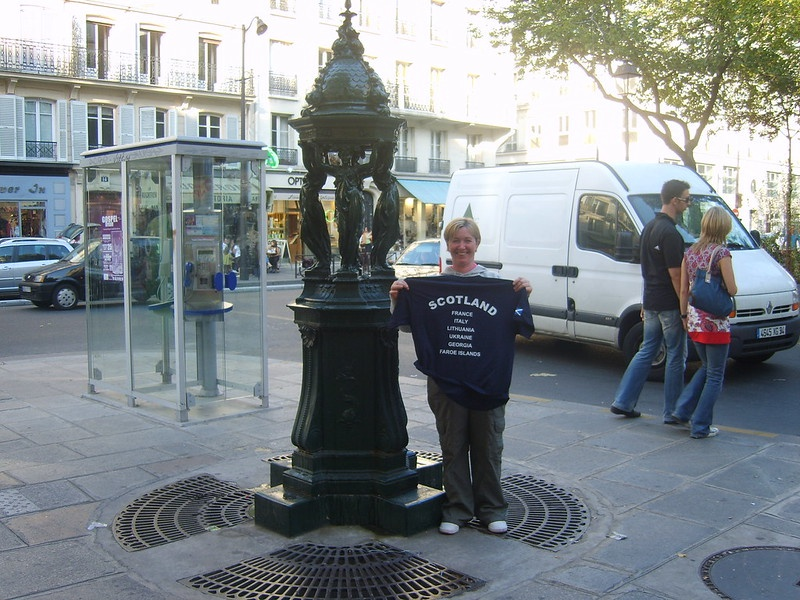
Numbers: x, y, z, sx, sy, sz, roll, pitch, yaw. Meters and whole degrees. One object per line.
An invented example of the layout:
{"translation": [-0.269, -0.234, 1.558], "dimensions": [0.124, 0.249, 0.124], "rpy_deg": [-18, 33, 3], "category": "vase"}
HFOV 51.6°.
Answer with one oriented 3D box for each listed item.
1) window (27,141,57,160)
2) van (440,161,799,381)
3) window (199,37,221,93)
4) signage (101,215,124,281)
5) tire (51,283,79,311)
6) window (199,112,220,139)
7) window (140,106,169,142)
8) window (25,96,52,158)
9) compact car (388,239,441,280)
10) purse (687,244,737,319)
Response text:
{"translation": [-14.752, -6.199, 34.053], "dimensions": [0.043, 0.523, 0.991], "rpy_deg": [5, 7, 42], "category": "window"}
{"translation": [3.472, -0.734, 12.690], "dimensions": [2.843, 2.508, 5.281], "rpy_deg": [-3, 3, -39], "category": "van"}
{"translation": [-8.870, -11.087, 38.571], "dimensions": [0.262, 2.506, 1.428], "rpy_deg": [9, 19, -28], "category": "window"}
{"translation": [-3.419, -0.646, 9.908], "dimensions": [0.052, 0.882, 0.846], "rpy_deg": [1, 1, -38], "category": "signage"}
{"translation": [-8.298, -0.119, 20.525], "dimensions": [0.247, 0.642, 0.694], "rpy_deg": [10, 9, 39], "category": "tire"}
{"translation": [-8.937, -8.300, 38.949], "dimensions": [0.481, 1.045, 1.398], "rpy_deg": [6, 12, 30], "category": "window"}
{"translation": [-10.960, -7.966, 36.973], "dimensions": [0.585, 1.384, 1.423], "rpy_deg": [6, 12, 30], "category": "window"}
{"translation": [-14.870, -7.121, 34.194], "dimensions": [1.572, 2.503, 0.157], "rpy_deg": [6, 13, 13], "category": "window"}
{"translation": [0.396, -0.907, 17.915], "dimensions": [0.863, 0.683, 1.411], "rpy_deg": [-1, 8, -28], "category": "compact car"}
{"translation": [3.081, -0.163, 8.214], "dimensions": [0.398, 0.680, 0.203], "rpy_deg": [3, 12, 18], "category": "purse"}
